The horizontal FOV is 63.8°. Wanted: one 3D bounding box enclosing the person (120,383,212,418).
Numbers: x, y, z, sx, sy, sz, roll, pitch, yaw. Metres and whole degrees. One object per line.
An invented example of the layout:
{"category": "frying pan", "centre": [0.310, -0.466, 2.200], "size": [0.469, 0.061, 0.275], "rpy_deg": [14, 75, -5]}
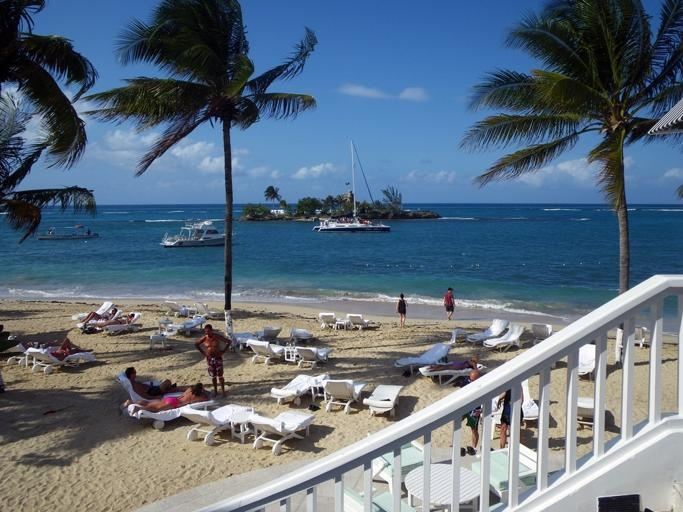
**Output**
{"category": "person", "centre": [-3.420, 2.868, 10.758], "size": [1.170, 0.222, 0.767], "rpy_deg": [-2, 1, -37]}

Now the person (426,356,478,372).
{"category": "person", "centre": [2.431, 2.545, 12.729], "size": [1.321, 0.150, 0.571], "rpy_deg": [-2, 1, 5]}

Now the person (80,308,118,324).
{"category": "person", "centre": [-8.278, 2.102, 18.893], "size": [0.998, 0.250, 0.528], "rpy_deg": [1, -1, -32]}

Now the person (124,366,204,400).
{"category": "person", "centre": [-3.705, 2.629, 11.753], "size": [1.783, 0.562, 0.775], "rpy_deg": [0, 3, -29]}

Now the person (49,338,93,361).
{"category": "person", "centre": [-7.068, 2.391, 13.941], "size": [0.958, 0.349, 0.581], "rpy_deg": [2, 3, 12]}
